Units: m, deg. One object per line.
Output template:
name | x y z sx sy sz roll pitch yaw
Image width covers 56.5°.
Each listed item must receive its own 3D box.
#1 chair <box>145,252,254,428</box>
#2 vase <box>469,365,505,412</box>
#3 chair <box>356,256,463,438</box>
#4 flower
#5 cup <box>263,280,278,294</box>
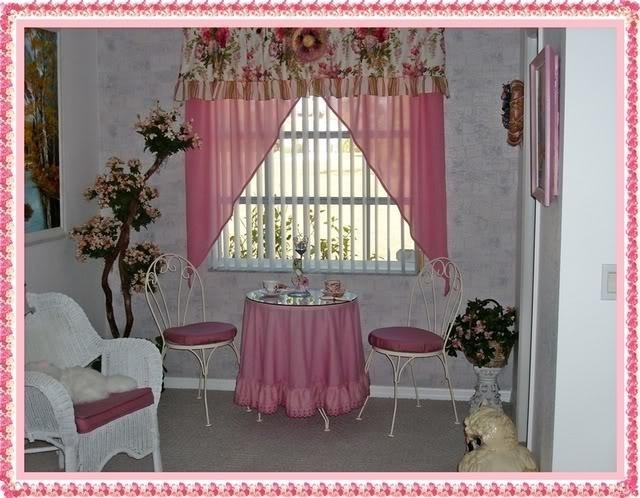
chair | -1.040 0.703 4.982 0.608 1.359 0.663 0 4 37
vase | 1.324 1.113 4.720 0.260 0.362 0.269 0 0 -26
chair | 0.713 0.719 4.760 0.612 1.366 0.607 0 4 -18
flower | 1.289 0.633 4.741 0.482 0.546 0.524 0 -2 20
cup | -0.390 0.309 4.741 0.078 0.091 0.110 0 -2 5
